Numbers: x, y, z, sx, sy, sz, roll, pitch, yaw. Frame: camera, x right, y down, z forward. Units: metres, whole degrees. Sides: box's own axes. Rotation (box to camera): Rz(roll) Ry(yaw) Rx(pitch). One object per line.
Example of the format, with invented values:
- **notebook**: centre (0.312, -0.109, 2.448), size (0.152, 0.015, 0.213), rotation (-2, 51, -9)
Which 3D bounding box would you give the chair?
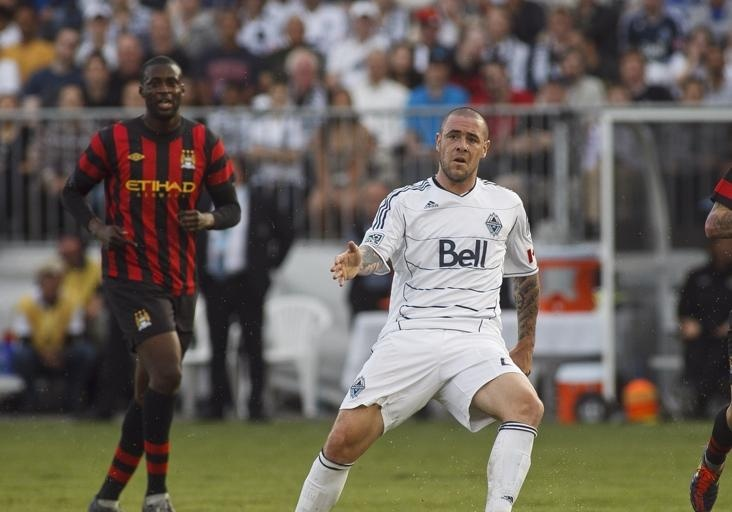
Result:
- **chair**: centre (-1.513, 1.344, 18.570), size (1.680, 2.046, 1.494), rotation (-2, -12, 18)
